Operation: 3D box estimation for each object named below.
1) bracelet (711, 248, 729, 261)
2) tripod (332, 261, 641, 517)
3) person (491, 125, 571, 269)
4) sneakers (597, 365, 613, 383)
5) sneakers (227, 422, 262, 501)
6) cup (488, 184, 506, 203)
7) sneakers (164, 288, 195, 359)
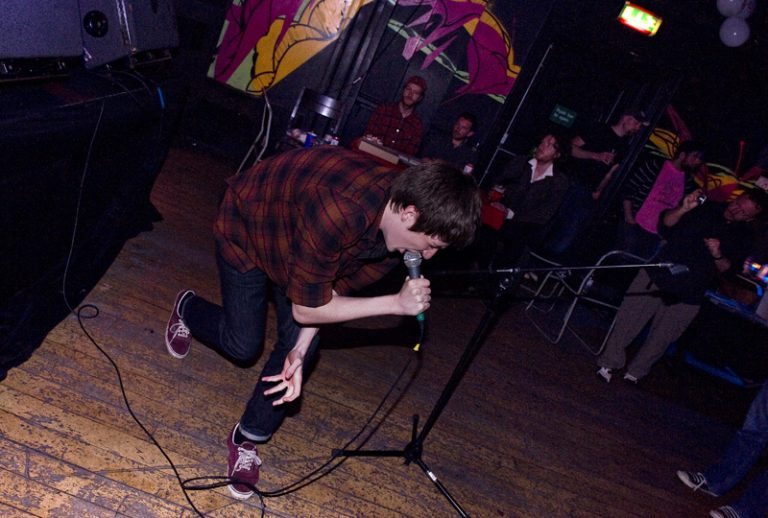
[{"bbox_3d":[3.139,-0.042,5.112,0.128,0.042,0.096,20,-8,1],"label":"bracelet"},{"bbox_3d":[0.642,0.688,4.083,1.928,1.965,1.790,8,43,8],"label":"tripod"},{"bbox_3d":[1.559,-0.606,6.070,0.728,1.557,0.315,19,20,7],"label":"person"},{"bbox_3d":[2.232,1.167,5.512,0.130,0.164,0.067,38,-11,6],"label":"sneakers"},{"bbox_3d":[-0.854,1.185,3.256,0.170,0.173,0.435,14,34,-33],"label":"sneakers"},{"bbox_3d":[1.207,-0.694,5.883,0.157,0.184,0.316,19,20,6],"label":"cup"},{"bbox_3d":[-1.334,0.449,3.650,0.187,0.505,0.179,5,-6,-40],"label":"sneakers"}]
